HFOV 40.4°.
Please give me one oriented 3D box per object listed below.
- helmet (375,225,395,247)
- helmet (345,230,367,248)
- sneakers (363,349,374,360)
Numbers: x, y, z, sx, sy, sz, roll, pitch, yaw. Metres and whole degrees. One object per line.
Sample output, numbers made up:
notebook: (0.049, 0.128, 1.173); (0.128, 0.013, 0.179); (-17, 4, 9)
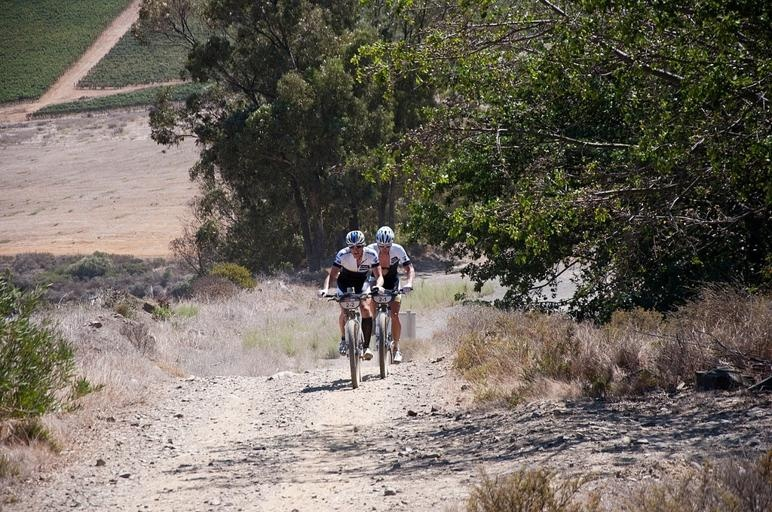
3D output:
helmet: (-0.036, -0.542, 28.048); (0.357, 0.547, 0.514); (3, 8, -4)
helmet: (-0.851, -0.538, 27.771); (0.364, 0.589, 0.479); (-1, -6, 8)
sneakers: (-0.504, 2.630, 27.796); (0.140, 0.194, 0.409); (-1, -20, -4)
